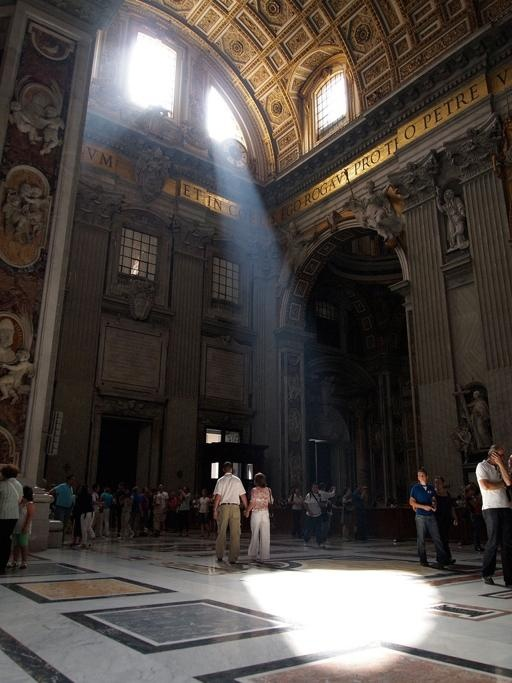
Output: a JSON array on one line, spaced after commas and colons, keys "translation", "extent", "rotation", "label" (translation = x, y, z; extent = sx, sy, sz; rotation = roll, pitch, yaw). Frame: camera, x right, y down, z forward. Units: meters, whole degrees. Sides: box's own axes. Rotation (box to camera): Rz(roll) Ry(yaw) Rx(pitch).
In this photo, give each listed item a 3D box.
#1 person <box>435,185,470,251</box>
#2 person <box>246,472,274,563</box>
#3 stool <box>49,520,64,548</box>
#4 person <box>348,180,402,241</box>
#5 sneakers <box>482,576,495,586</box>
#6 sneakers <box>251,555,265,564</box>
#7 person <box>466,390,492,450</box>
[{"translation": [5.685, -3.558, 13.717], "extent": [0.427, 2.215, 0.865], "rotation": [5, -13, -19], "label": "person"}, {"translation": [0.049, 2.526, 6.862], "extent": [0.333, 1.232, 0.801], "rotation": [0, -12, 2], "label": "person"}, {"translation": [-3.205, 3.071, 7.638], "extent": [0.204, 0.386, 0.295], "rotation": [6, -13, -21], "label": "stool"}, {"translation": [4.093, -4.559, 16.369], "extent": [0.712, 2.397, 1.567], "rotation": [17, -39, -23], "label": "person"}, {"translation": [2.124, 2.180, 4.358], "extent": [0.050, 0.063, 0.147], "rotation": [0, -9, 6], "label": "sneakers"}, {"translation": [0.017, 2.974, 6.493], "extent": [0.156, 0.080, 0.201], "rotation": [11, -21, -26], "label": "sneakers"}, {"translation": [5.610, 1.957, 11.963], "extent": [0.514, 1.479, 0.385], "rotation": [-9, -16, 37], "label": "person"}]
